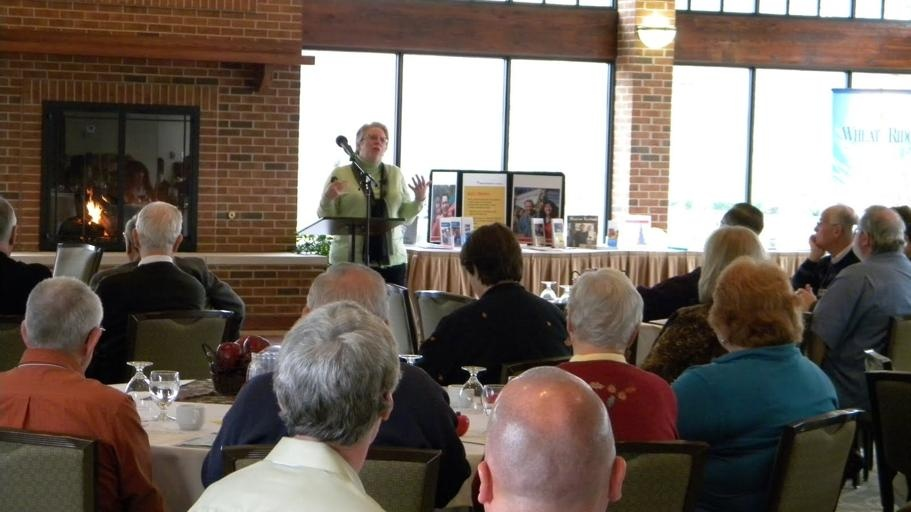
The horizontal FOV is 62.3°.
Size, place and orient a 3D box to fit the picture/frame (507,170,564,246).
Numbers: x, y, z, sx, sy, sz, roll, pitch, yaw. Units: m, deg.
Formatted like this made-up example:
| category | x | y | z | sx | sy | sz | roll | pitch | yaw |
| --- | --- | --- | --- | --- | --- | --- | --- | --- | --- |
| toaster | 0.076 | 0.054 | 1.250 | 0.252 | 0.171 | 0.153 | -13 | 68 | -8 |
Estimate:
| category | x | y | z | sx | sy | sz | roll | pitch | yaw |
| --- | --- | --- | --- | --- | --- | --- | --- | --- | --- |
| picture/frame | 0.887 | -0.527 | 8.517 | 0.933 | 1.097 | 0.093 | -1 | 3 | -18 |

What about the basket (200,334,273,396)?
| category | x | y | z | sx | sy | sz | roll | pitch | yaw |
| --- | --- | --- | --- | --- | --- | --- | --- | --- | --- |
| basket | -1.167 | 0.564 | 3.944 | 0.363 | 0.227 | 0.334 | 0 | -3 | -6 |

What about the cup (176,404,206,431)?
| category | x | y | z | sx | sy | sz | roll | pitch | yaw |
| --- | --- | --- | --- | --- | --- | --- | --- | --- | --- |
| cup | -1.259 | 0.756 | 3.587 | 0.112 | 0.096 | 0.138 | 2 | 8 | 4 |

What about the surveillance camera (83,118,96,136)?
| category | x | y | z | sx | sy | sz | roll | pitch | yaw |
| --- | --- | --- | --- | --- | --- | --- | --- | --- | --- |
| surveillance camera | -3.937 | -1.377 | 8.111 | 0.138 | 0.175 | 0.066 | -1 | 2 | -11 |

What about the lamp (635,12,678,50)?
| category | x | y | z | sx | sy | sz | roll | pitch | yaw |
| --- | --- | --- | --- | --- | --- | --- | --- | --- | --- |
| lamp | 2.389 | -2.672 | 8.952 | 0.478 | 0.313 | 0.452 | -1 | 3 | -5 |

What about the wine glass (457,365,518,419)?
| category | x | y | z | sx | sy | sz | roll | pitch | yaw |
| --- | --- | --- | --- | --- | --- | --- | --- | --- | --- |
| wine glass | 0.113 | 0.716 | 3.939 | 0.338 | 0.290 | 0.324 | 0 | 0 | -21 |

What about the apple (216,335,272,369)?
| category | x | y | z | sx | sy | sz | roll | pitch | yaw |
| --- | --- | --- | --- | --- | --- | --- | --- | --- | --- |
| apple | -1.123 | 0.506 | 3.972 | 0.265 | 0.119 | 0.157 | -16 | 1 | -14 |

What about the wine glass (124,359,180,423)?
| category | x | y | z | sx | sy | sz | roll | pitch | yaw |
| --- | --- | --- | --- | --- | --- | --- | --- | --- | --- |
| wine glass | -1.507 | 0.669 | 3.824 | 0.279 | 0.266 | 0.294 | 0 | -2 | -3 |
